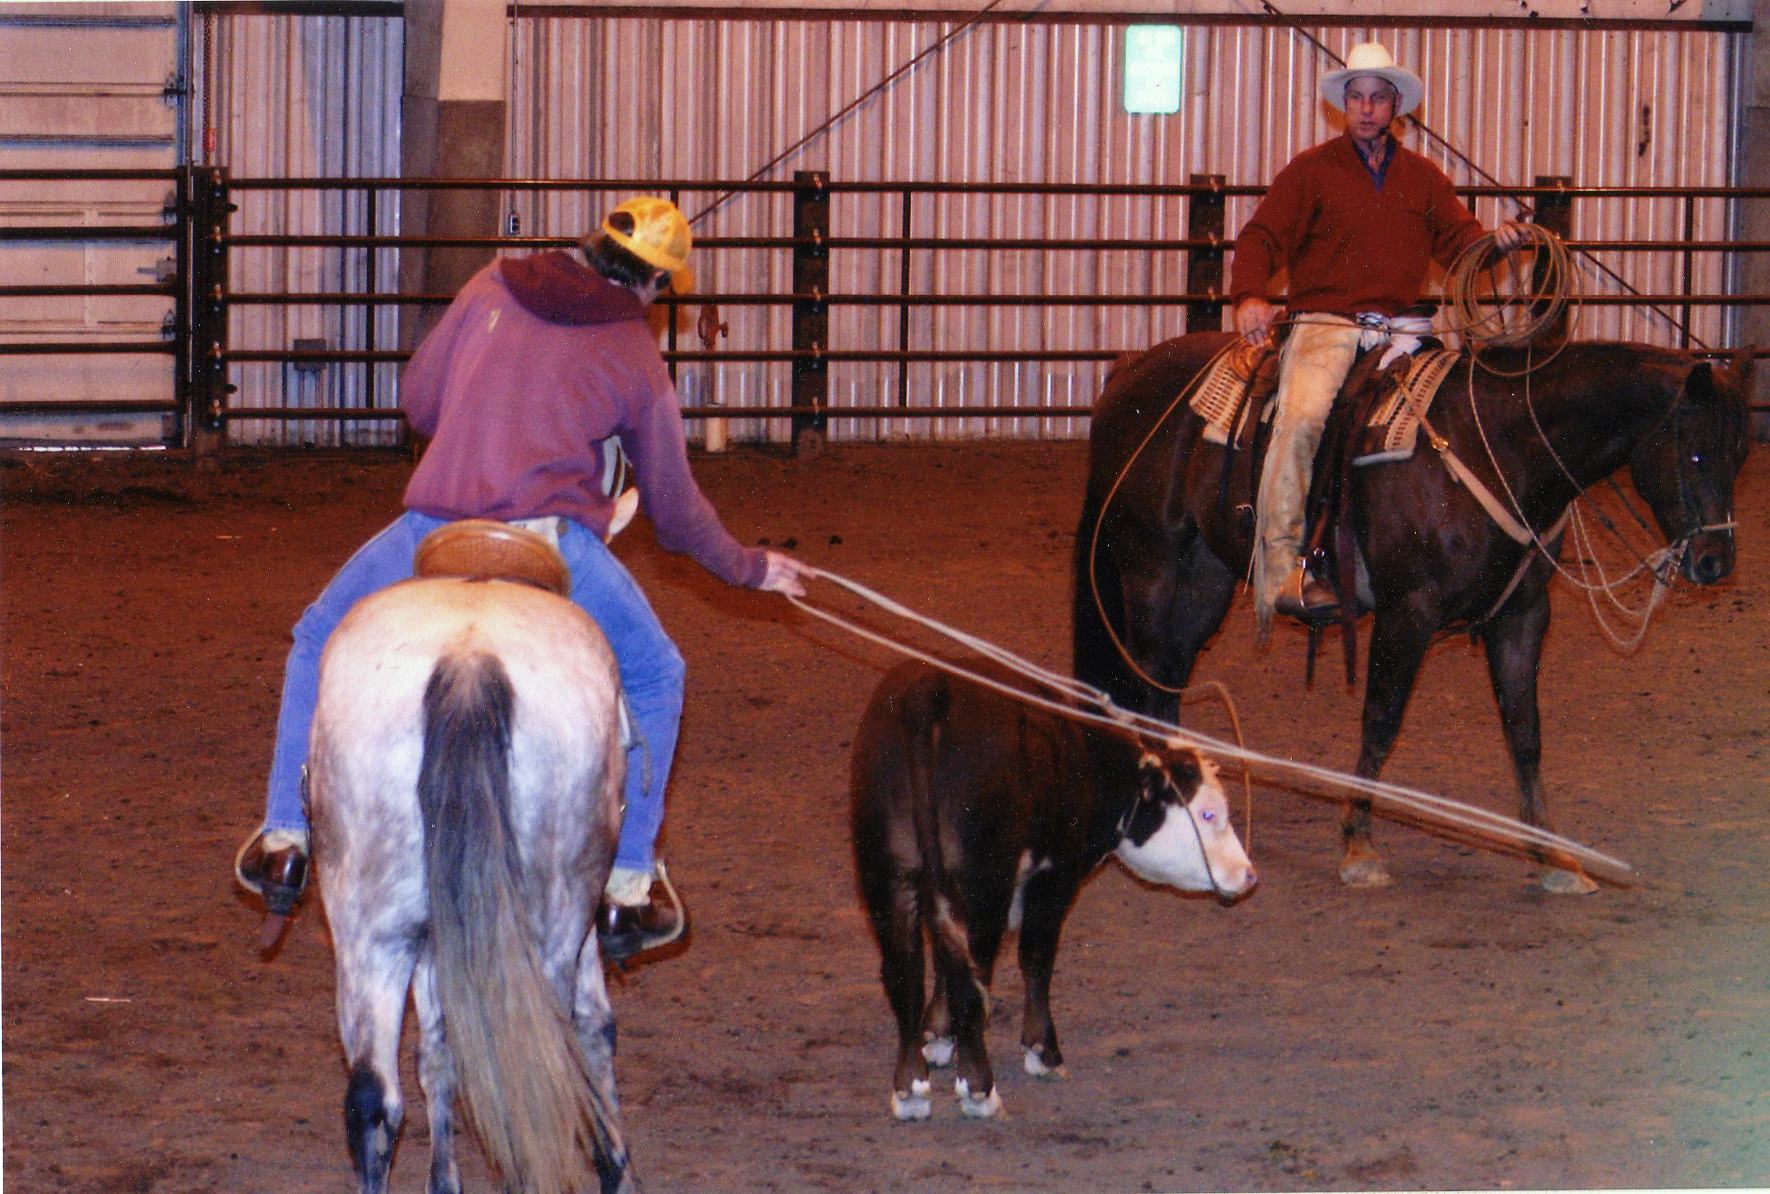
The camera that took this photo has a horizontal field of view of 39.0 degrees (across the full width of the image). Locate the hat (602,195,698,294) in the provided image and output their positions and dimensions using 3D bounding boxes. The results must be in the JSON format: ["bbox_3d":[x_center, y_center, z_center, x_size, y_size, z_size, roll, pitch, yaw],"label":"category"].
[{"bbox_3d":[-0.889,-1.389,9.856,0.300,0.234,0.393,42,9,19],"label":"hat"}]

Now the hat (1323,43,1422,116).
[{"bbox_3d":[2.480,-2.722,12.640,0.382,0.208,0.490,1,-21,10],"label":"hat"}]

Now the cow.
[{"bbox_3d":[0.587,1.195,10.460,1.514,1.820,0.494,-4,9,-31],"label":"cow"}]
